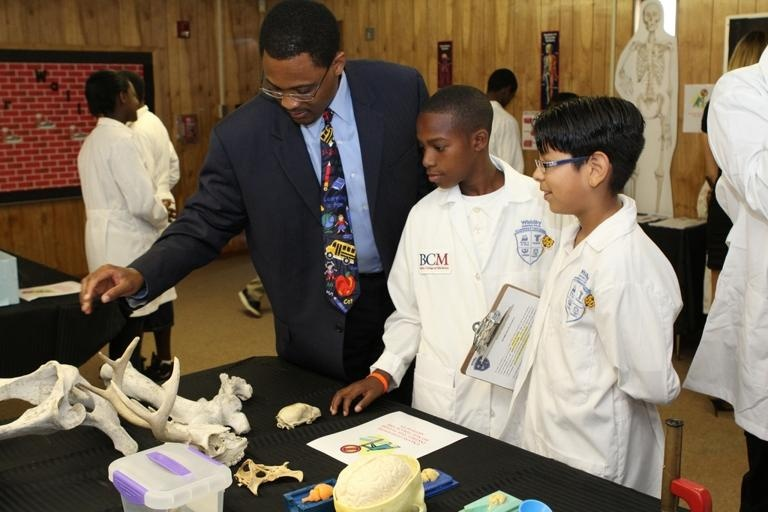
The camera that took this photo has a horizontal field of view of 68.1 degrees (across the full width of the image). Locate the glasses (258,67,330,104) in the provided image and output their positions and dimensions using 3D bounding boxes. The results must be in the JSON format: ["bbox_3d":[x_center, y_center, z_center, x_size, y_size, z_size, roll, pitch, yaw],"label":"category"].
[{"bbox_3d":[-0.325,-0.615,2.047,0.252,0.118,0.130,0,13,2],"label":"glasses"}]
